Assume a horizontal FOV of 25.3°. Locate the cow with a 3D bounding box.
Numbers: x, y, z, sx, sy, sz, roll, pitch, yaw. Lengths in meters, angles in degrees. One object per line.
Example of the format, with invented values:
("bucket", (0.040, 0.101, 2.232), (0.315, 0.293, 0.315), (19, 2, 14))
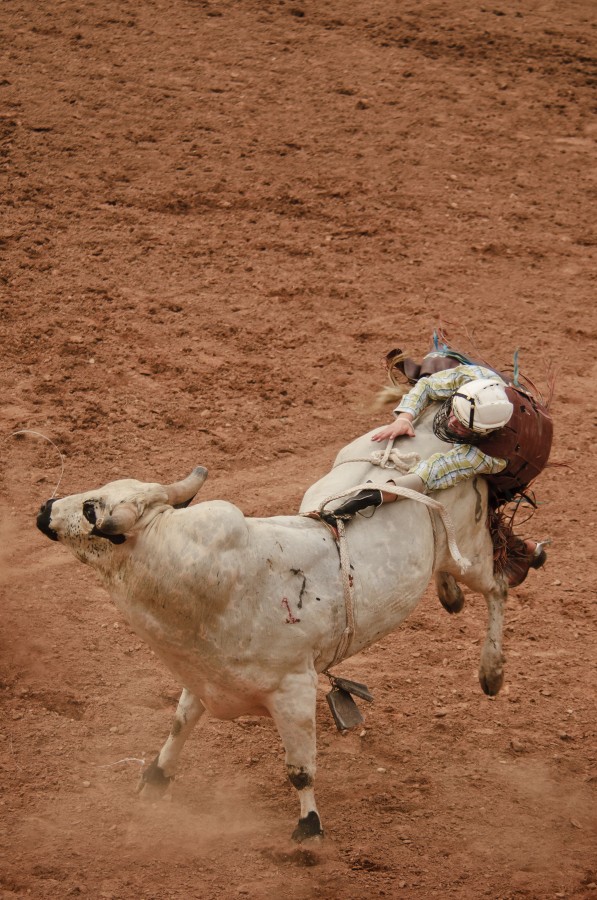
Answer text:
("cow", (0.643, 0.526, 6.798), (3.120, 1.771, 1.306), (-20, 26, -36))
